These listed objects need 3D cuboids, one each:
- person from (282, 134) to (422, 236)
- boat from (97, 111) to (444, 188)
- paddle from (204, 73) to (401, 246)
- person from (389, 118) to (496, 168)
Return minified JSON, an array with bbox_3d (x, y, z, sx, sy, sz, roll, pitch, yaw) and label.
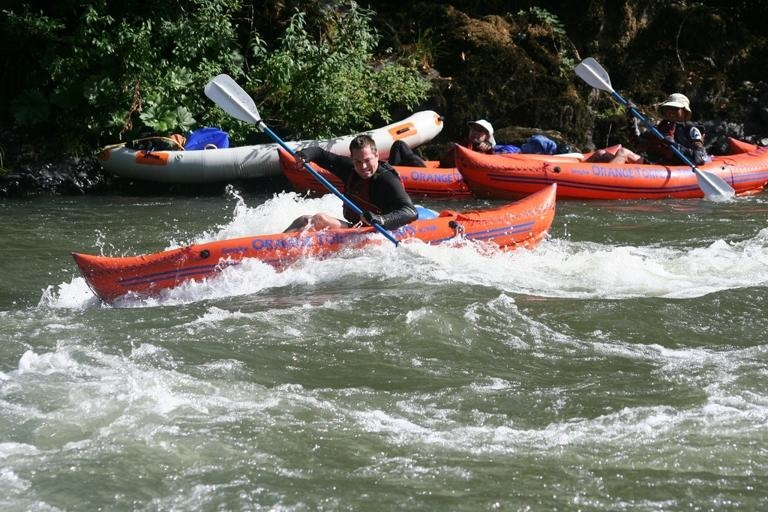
[{"bbox_3d":[-0.195,-0.767,10.883,1.136,0.716,1.444,31,24,30],"label":"person"},{"bbox_3d":[-1.293,-1.717,15.592,6.172,0.939,1.653,-7,8,-10],"label":"boat"},{"bbox_3d":[-1.244,-1.369,13.595,4.520,0.625,0.343,38,25,12],"label":"paddle"},{"bbox_3d":[0.830,-1.732,14.963,1.486,0.515,0.814,-8,12,-24],"label":"person"}]
